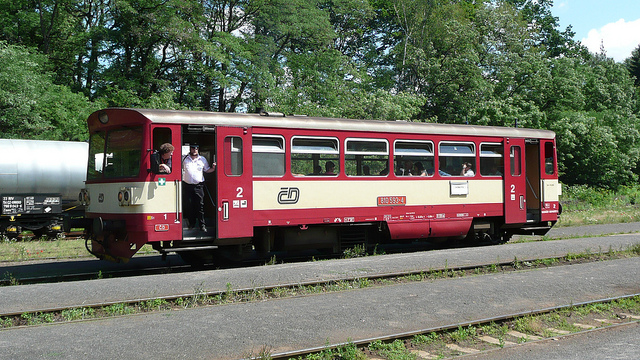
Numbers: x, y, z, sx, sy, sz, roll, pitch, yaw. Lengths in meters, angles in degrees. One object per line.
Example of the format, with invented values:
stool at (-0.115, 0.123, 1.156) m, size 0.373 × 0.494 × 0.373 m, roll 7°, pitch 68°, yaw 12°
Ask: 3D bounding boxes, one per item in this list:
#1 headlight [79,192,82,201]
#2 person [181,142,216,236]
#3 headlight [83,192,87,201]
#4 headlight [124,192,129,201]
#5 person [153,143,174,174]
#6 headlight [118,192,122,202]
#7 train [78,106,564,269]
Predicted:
headlight at (-8.855, 0.628, 17.486) m, size 0.179 × 0.283 × 0.043 m, roll 9°, pitch 15°, yaw 39°
person at (-4.382, 0.371, 16.781) m, size 0.842 × 3.144 × 0.860 m, roll 7°, pitch 13°, yaw 31°
headlight at (-8.616, 0.606, 17.335) m, size 0.220 × 0.269 × 0.070 m, roll 8°, pitch 14°, yaw 35°
headlight at (-6.558, 0.574, 15.985) m, size 0.245 × 0.280 × 0.063 m, roll 9°, pitch 15°, yaw 40°
person at (-5.344, -0.705, 16.124) m, size 0.687 × 1.005 × 0.273 m, roll -3°, pitch 12°, yaw -17°
headlight at (-6.864, 0.584, 16.206) m, size 0.259 × 0.250 × 0.061 m, roll 0°, pitch -1°, yaw 42°
train at (2.753, 0.108, 21.009) m, size 22.457 × 5.784 × 7.047 m, roll 1°, pitch -3°, yaw -28°
